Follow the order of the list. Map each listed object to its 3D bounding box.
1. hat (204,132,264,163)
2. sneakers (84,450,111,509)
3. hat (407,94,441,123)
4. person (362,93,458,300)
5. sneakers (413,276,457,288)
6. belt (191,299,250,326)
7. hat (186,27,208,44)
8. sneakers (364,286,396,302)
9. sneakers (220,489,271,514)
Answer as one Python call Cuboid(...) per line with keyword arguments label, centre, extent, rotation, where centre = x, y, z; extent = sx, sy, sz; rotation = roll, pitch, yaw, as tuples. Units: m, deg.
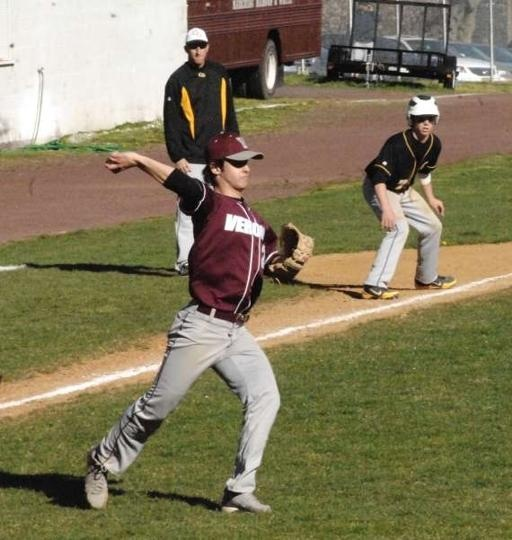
Cuboid(label="hat", centre=(-0.164, -0.869, 9.660), extent=(0.310, 0.171, 0.208), rotation=(4, 9, 19))
Cuboid(label="sneakers", centre=(-1.105, 1.423, 9.616), extent=(0.141, 0.419, 0.177), rotation=(-4, 4, -18))
Cuboid(label="hat", centre=(1.507, -1.465, 12.597), extent=(0.190, 0.212, 0.279), rotation=(2, 16, 0))
Cuboid(label="person", centre=(1.431, -0.696, 13.113), extent=(0.863, 1.923, 1.081), rotation=(4, 9, 7))
Cuboid(label="sneakers", centre=(1.751, 0.113, 13.445), extent=(0.358, 0.154, 0.145), rotation=(-5, 7, 1))
Cuboid(label="belt", centre=(-0.274, 0.264, 9.577), extent=(0.231, 0.074, 0.218), rotation=(25, 5, 42))
Cuboid(label="hat", centre=(-0.567, -2.190, 13.108), extent=(0.183, 0.154, 0.278), rotation=(-1, 9, -6))
Cuboid(label="sneakers", centre=(1.180, 0.194, 13.175), extent=(0.304, 0.159, 0.126), rotation=(-3, 6, 0))
Cuboid(label="sneakers", centre=(-0.078, 1.554, 9.542), extent=(0.355, 0.153, 0.136), rotation=(1, 5, 4))
